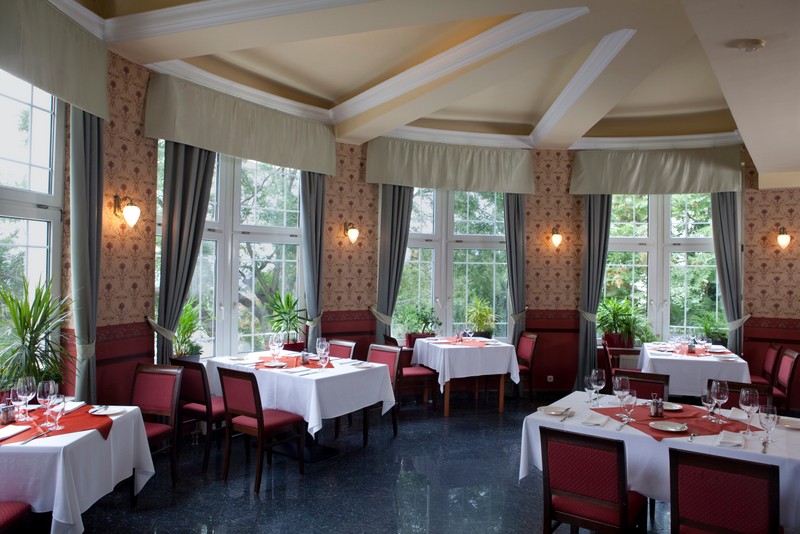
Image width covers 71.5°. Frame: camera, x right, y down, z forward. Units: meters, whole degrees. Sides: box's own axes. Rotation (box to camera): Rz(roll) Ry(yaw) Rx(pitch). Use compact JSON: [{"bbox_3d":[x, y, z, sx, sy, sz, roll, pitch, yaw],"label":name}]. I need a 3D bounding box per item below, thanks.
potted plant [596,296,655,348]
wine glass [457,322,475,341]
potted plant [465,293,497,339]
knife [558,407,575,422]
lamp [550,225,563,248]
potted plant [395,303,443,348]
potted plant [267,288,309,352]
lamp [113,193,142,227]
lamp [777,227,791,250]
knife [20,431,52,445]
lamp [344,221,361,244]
[{"bbox_3d":[3.962,0.981,9.916,0.789,0.937,0.870,-7,-10,41],"label":"potted plant"},{"bbox_3d":[1.098,1.084,9.330,0.218,0.381,0.236,0,7,2],"label":"wine glass"},{"bbox_3d":[1.400,0.862,9.675,0.604,0.908,0.505,-4,-7,27],"label":"potted plant"},{"bbox_3d":[1.611,1.423,5.352,0.066,0.050,0.283,10,15,28],"label":"knife"},{"bbox_3d":[2.775,-0.542,9.803,0.248,0.401,0.105,-1,6,-13],"label":"lamp"},{"bbox_3d":[0.263,0.907,9.635,0.866,0.895,0.639,2,-5,-14],"label":"potted plant"},{"bbox_3d":[-1.764,0.823,8.845,0.680,1.091,0.800,-2,1,0],"label":"potted plant"},{"bbox_3d":[-3.211,-0.666,6.661,0.188,0.382,0.382,2,6,19],"label":"lamp"},{"bbox_3d":[6.207,-0.465,8.990,0.206,0.354,0.059,1,6,8],"label":"lamp"},{"bbox_3d":[-3.070,1.450,4.772,0.316,0.091,0.053,-14,-15,-5],"label":"knife"},{"bbox_3d":[-0.759,-0.559,8.990,0.289,0.343,0.142,-2,6,-20],"label":"lamp"}]
